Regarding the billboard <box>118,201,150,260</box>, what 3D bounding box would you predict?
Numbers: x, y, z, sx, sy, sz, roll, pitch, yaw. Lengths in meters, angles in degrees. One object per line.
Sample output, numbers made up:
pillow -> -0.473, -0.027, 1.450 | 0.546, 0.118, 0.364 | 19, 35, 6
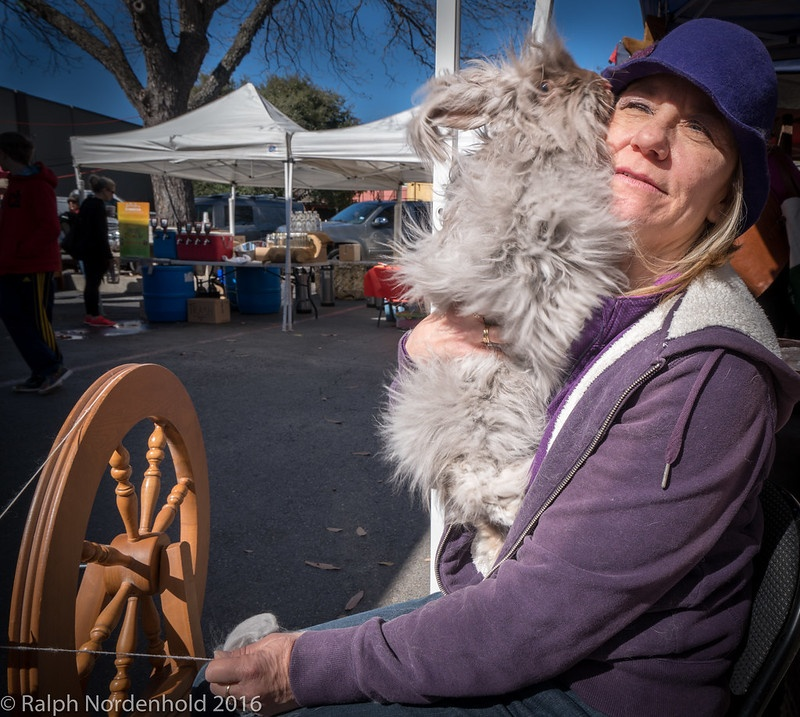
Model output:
billboard -> -3.815, -1.845, 9.717 | 0.425, 0.780, 0.001 | -2, 5, -2

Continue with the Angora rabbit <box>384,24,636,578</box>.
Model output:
Angora rabbit -> 0.170, -0.121, 1.226 | 0.506, 0.908, 0.307 | 10, -8, -31

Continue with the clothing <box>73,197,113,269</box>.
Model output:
clothing -> -3.819, -1.542, 8.423 | 0.427, 0.916, 0.310 | -2, 14, -22
